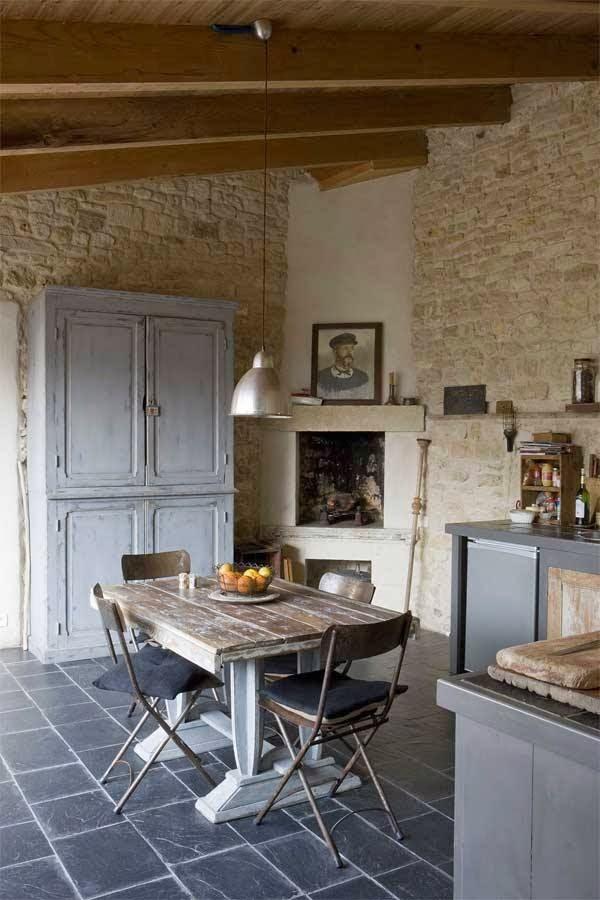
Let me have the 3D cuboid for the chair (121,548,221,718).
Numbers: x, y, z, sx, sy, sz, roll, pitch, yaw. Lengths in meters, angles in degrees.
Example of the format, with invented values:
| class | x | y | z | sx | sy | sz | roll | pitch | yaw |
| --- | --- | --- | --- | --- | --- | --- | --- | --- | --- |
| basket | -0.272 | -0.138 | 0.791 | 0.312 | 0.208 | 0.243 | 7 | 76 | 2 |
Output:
| class | x | y | z | sx | sy | sz | roll | pitch | yaw |
| --- | --- | --- | --- | --- | --- | --- | --- | --- | --- |
| chair | -0.785 | 0.974 | 4.297 | 0.431 | 0.666 | 0.481 | -6 | 35 | -12 |

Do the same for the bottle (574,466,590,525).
| class | x | y | z | sx | sy | sz | roll | pitch | yaw |
| --- | --- | --- | --- | --- | --- | --- | --- | --- | --- |
| bottle | 1.716 | 0.288 | 4.682 | 0.092 | 0.330 | 0.242 | 1 | 0 | 20 |

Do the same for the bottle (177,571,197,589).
| class | x | y | z | sx | sy | sz | roll | pitch | yaw |
| --- | --- | --- | --- | --- | --- | --- | --- | --- | --- |
| bottle | -0.570 | 0.659 | 3.886 | 0.076 | 0.053 | 0.075 | 0 | -1 | 0 |

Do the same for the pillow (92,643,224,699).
| class | x | y | z | sx | sy | sz | roll | pitch | yaw |
| --- | --- | --- | --- | --- | --- | --- | --- | --- | --- |
| pillow | -0.630 | 0.949 | 3.249 | 0.408 | 0.091 | 0.375 | 9 | 14 | 40 |

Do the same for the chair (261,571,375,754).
| class | x | y | z | sx | sy | sz | roll | pitch | yaw |
| --- | --- | --- | --- | --- | --- | --- | --- | --- | --- |
| chair | 0.116 | 0.908 | 3.904 | 0.524 | 0.828 | 0.605 | 3 | -3 | -45 |

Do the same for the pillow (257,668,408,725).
| class | x | y | z | sx | sy | sz | roll | pitch | yaw |
| --- | --- | --- | --- | --- | --- | --- | --- | --- | --- |
| pillow | 0.128 | 0.940 | 2.958 | 0.294 | 0.068 | 0.305 | -1 | 1 | -31 |

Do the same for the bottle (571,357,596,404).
| class | x | y | z | sx | sy | sz | roll | pitch | yaw |
| --- | --- | --- | --- | --- | --- | --- | --- | --- | --- |
| bottle | 1.733 | -0.419 | 4.694 | 0.138 | 0.304 | 0.208 | 1 | 0 | 19 |

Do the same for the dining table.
| class | x | y | z | sx | sy | sz | roll | pitch | yaw |
| --- | --- | --- | --- | --- | --- | --- | --- | --- | --- |
| dining table | -0.288 | 1.063 | 3.516 | 0.924 | 0.692 | 1.481 | -1 | -1 | -27 |

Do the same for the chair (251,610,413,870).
| class | x | y | z | sx | sy | sz | roll | pitch | yaw |
| --- | --- | --- | --- | --- | --- | --- | --- | --- | --- |
| chair | 0.125 | 1.079 | 3.015 | 0.575 | 0.815 | 0.504 | -5 | -6 | 42 |

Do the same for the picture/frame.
| class | x | y | z | sx | sy | sz | roll | pitch | yaw |
| --- | --- | --- | --- | --- | --- | --- | --- | --- | --- |
| picture/frame | 0.419 | -0.720 | 6.471 | 0.750 | 0.826 | 0.031 | 0 | 1 | 24 |

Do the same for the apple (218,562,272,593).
| class | x | y | z | sx | sy | sz | roll | pitch | yaw |
| --- | --- | --- | --- | --- | --- | --- | --- | --- | --- |
| apple | -0.266 | 0.596 | 3.538 | 0.181 | 0.074 | 0.169 | -1 | -3 | 24 |
